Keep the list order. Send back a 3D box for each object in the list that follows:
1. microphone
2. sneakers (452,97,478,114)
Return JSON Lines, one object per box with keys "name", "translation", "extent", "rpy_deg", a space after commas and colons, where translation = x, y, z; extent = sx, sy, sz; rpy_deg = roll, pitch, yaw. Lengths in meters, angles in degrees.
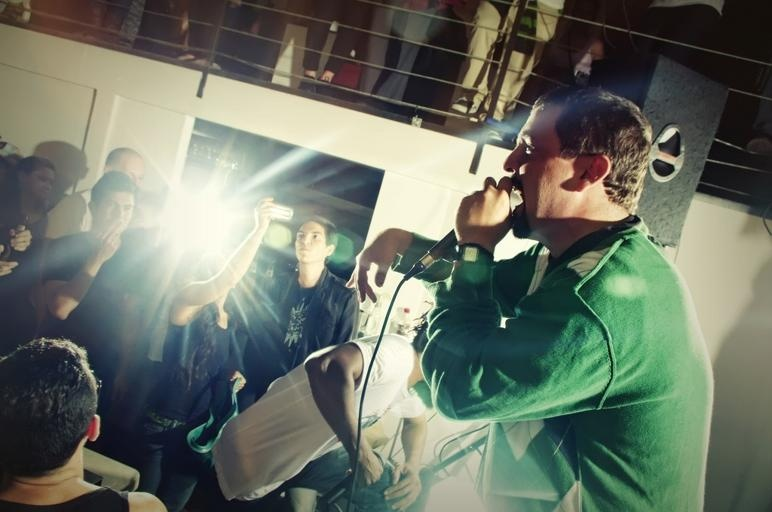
{"name": "microphone", "translation": [0.367, -0.080, 2.589], "extent": [0.136, 0.521, 0.089], "rpy_deg": [42, -6, -23]}
{"name": "sneakers", "translation": [0.464, -0.870, 3.398], "extent": [0.140, 0.087, 0.069], "rpy_deg": [-3, 5, 9]}
